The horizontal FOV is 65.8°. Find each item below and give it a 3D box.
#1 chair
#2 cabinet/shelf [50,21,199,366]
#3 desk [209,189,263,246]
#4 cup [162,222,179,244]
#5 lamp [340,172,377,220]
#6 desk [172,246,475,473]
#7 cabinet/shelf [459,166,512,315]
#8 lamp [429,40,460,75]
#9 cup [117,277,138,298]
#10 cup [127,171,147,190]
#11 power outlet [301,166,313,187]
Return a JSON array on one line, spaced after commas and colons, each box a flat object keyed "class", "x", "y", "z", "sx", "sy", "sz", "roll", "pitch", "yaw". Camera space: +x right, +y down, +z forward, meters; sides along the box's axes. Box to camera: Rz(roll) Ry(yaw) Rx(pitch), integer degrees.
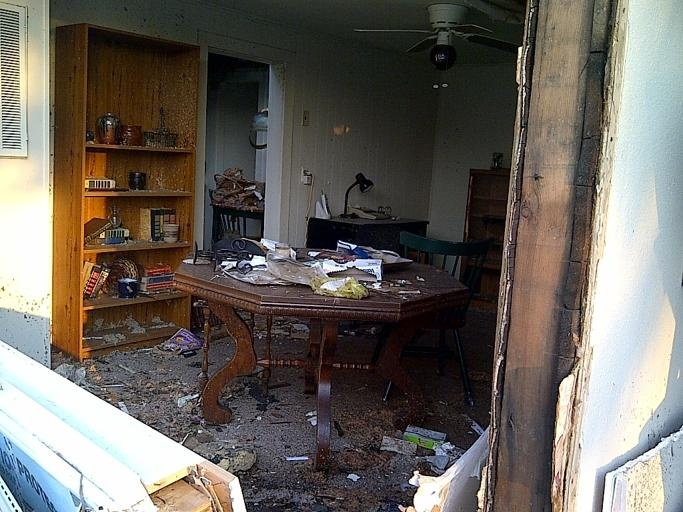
[{"class": "chair", "x": 0.578, "y": 0.377, "z": 3.581, "sx": 0.793, "sy": 1.119, "sz": 0.744, "roll": 5, "pitch": 7, "yaw": -8}, {"class": "cabinet/shelf", "x": -1.661, "y": -0.487, "z": 4.104, "sx": 0.572, "sy": 2.348, "sz": 1.173, "roll": 14, "pitch": 16, "yaw": 39}, {"class": "desk", "x": -1.234, "y": -0.344, "z": 6.515, "sx": 0.549, "sy": 0.530, "sz": 0.546, "roll": 13, "pitch": 3, "yaw": 2}, {"class": "cup", "x": -1.400, "y": -0.199, "z": 4.316, "sx": 0.151, "sy": 0.158, "sz": 0.146, "roll": 1, "pitch": 0, "yaw": 0}, {"class": "lamp", "x": 0.166, "y": -0.723, "z": 6.064, "sx": 0.305, "sy": 0.473, "sz": 0.665, "roll": 4, "pitch": 11, "yaw": 0}, {"class": "desk", "x": -0.147, "y": 0.580, "z": 3.279, "sx": 1.659, "sy": 0.912, "sz": 1.652, "roll": 7, "pitch": 6, "yaw": 34}, {"class": "cabinet/shelf", "x": 1.692, "y": -0.534, "z": 6.111, "sx": 0.442, "sy": 0.891, "sz": 0.259, "roll": 4, "pitch": -15, "yaw": 21}, {"class": "lamp", "x": 0.775, "y": -1.544, "z": 4.049, "sx": 0.179, "sy": 0.196, "sz": 0.200, "roll": 5, "pitch": 11, "yaw": 4}, {"class": "cup", "x": -1.660, "y": 0.236, "z": 4.090, "sx": 0.146, "sy": 0.126, "sz": 0.146, "roll": 6, "pitch": 13, "yaw": -1}, {"class": "cup", "x": -1.630, "y": -0.597, "z": 4.175, "sx": 0.151, "sy": 0.146, "sz": 0.150, "roll": 2, "pitch": 12, "yaw": 0}, {"class": "power outlet", "x": -0.397, "y": -0.834, "z": 5.604, "sx": 0.057, "sy": 0.146, "sz": 0.159, "roll": 8, "pitch": 4, "yaw": 35}]
